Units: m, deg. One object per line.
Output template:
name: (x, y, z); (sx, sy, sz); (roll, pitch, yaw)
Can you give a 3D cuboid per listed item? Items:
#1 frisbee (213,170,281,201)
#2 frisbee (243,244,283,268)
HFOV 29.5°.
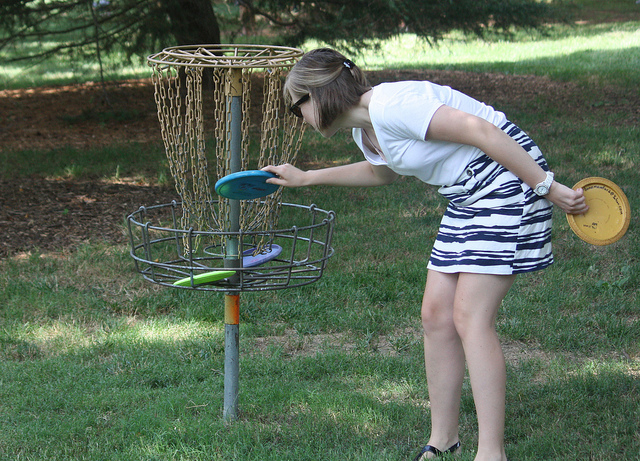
frisbee: (-0.715, -0.438, 11.893); (0.378, 0.072, 0.372); (8, -23, -33)
frisbee: (-0.589, 0.245, 12.317); (0.372, 0.198, 0.395); (0, 11, -4)
